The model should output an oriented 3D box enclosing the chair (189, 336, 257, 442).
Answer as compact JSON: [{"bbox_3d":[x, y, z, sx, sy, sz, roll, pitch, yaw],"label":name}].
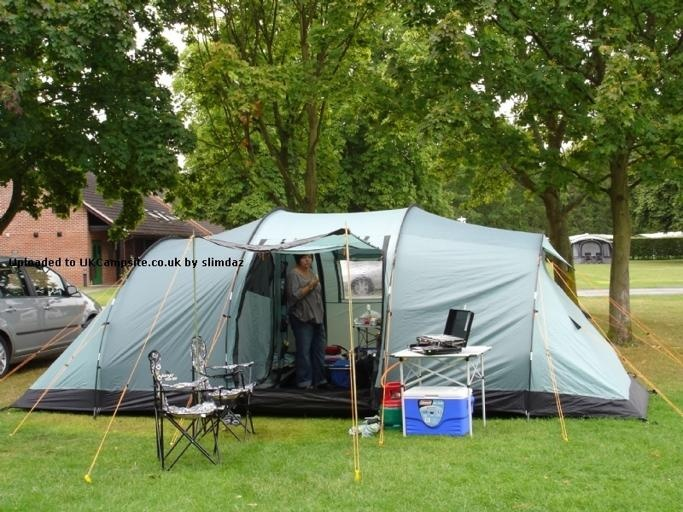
[{"bbox_3d":[-1.722,1.881,10.556,0.840,1.337,1.106,9,14,-5],"label":"chair"}]

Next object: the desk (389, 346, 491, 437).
[{"bbox_3d":[1.511,1.981,10.984,1.215,1.170,1.282,-2,-6,18],"label":"desk"}]
